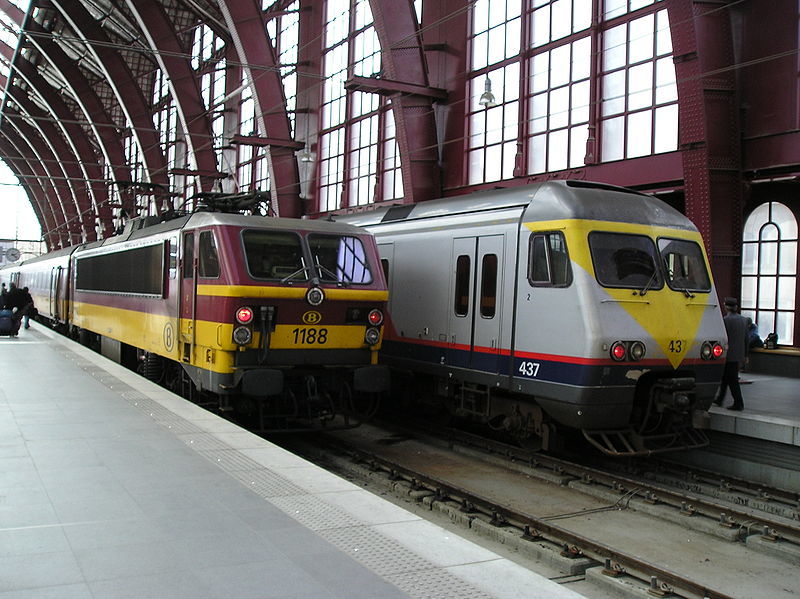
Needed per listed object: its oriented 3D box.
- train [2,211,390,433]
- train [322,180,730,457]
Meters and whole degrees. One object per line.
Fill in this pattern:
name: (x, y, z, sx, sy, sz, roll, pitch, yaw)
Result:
train: (-6.056, 0.221, 15.239, 3.058, 3.382, 15.082, -1, 1, -39)
train: (1.440, 0.220, 14.563, 2.871, 4.367, 13.227, 7, -1, -21)
